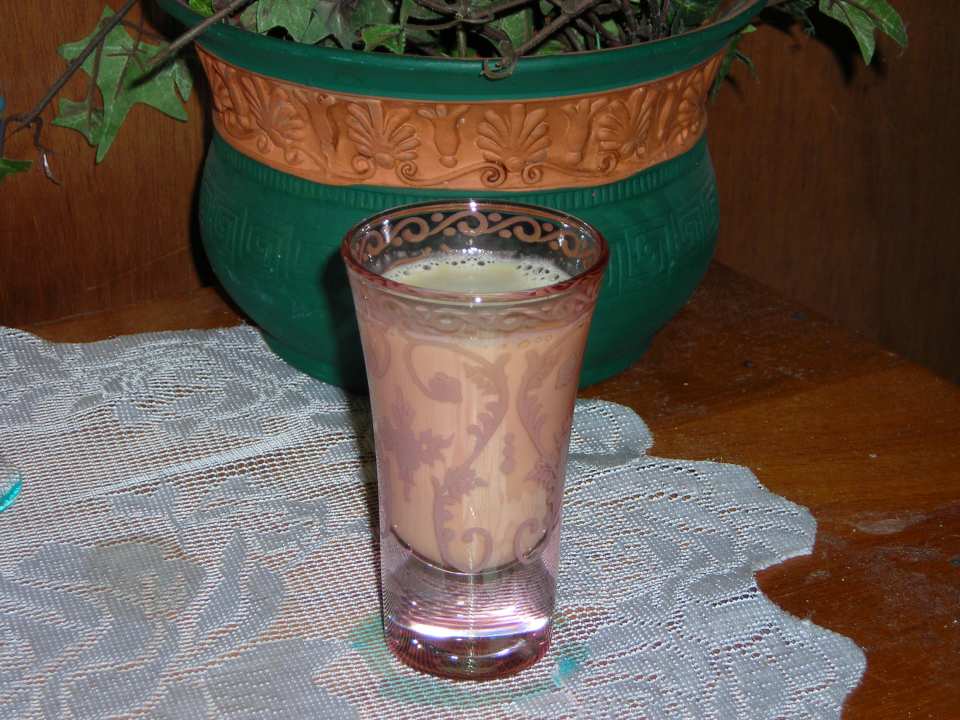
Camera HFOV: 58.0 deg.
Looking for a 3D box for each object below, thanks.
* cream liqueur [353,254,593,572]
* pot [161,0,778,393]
[{"bbox_3d":[-0.005,0.030,0.386,0.095,0.140,0.075,3,46,-3],"label":"cream liqueur"},{"bbox_3d":[0.000,-0.125,0.624,0.385,0.176,0.297,5,27,9],"label":"pot"}]
